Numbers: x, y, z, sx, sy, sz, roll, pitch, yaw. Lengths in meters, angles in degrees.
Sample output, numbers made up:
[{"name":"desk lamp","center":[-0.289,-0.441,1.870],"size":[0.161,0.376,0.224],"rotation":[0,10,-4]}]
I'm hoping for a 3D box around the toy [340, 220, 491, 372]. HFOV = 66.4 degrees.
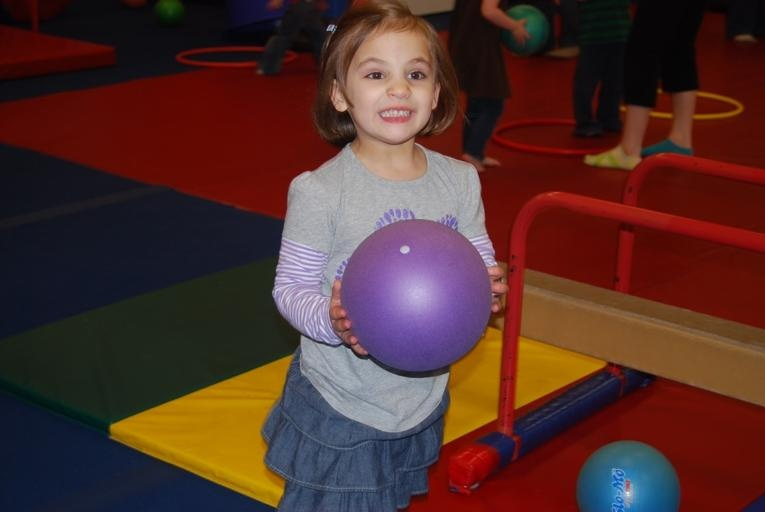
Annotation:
[{"name":"toy","center":[0.094,0.087,1.767],"size":[0.399,0.405,0.247],"rotation":[37,1,-3]}]
